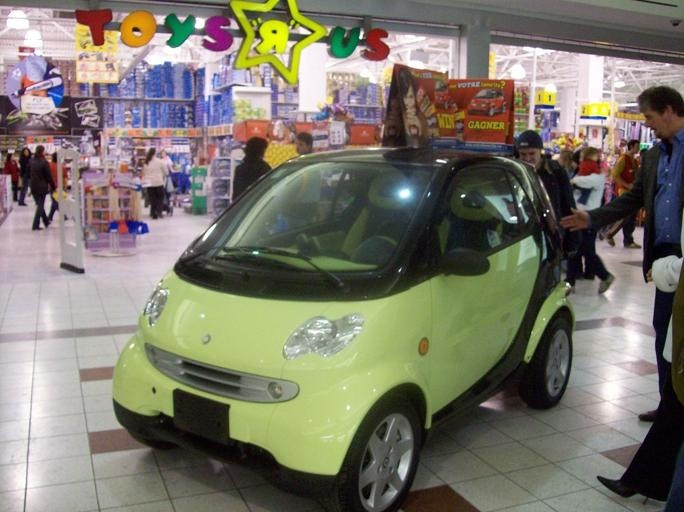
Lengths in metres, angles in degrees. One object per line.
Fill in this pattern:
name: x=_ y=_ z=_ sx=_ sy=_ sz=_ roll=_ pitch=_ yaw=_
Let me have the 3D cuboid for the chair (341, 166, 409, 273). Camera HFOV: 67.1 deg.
chair: x=0.178 y=-0.193 z=2.658 sx=0.339 sy=0.521 sz=0.436 roll=8 pitch=3 yaw=11

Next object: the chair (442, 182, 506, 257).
chair: x=0.712 y=-0.218 z=2.894 sx=0.409 sy=0.210 sz=0.286 roll=-19 pitch=27 yaw=-36

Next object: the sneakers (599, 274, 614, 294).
sneakers: x=3.382 y=0.356 z=6.588 sx=0.088 sy=0.218 sz=0.078 roll=26 pitch=26 yaw=4

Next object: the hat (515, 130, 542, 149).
hat: x=1.707 y=-1.043 z=4.677 sx=0.169 sy=0.134 sz=0.187 roll=9 pitch=12 yaw=29
